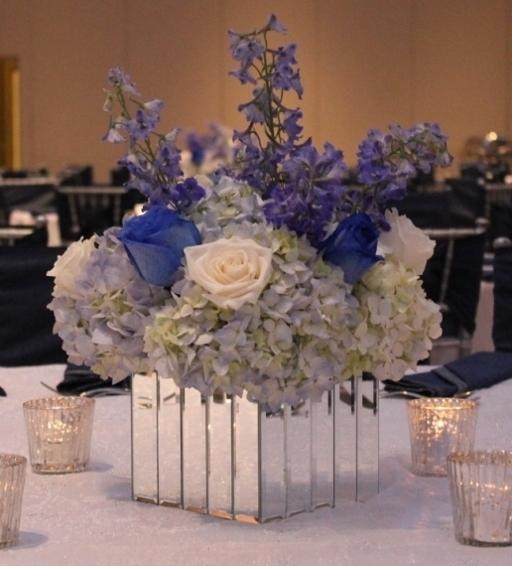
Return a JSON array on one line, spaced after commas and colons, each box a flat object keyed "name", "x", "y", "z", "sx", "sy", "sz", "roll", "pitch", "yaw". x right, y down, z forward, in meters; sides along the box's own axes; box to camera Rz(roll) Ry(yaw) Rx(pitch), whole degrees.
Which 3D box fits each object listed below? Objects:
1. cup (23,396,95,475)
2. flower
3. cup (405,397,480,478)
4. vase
[{"name": "cup", "x": -0.183, "y": 0.139, "z": 0.940, "sx": 0.076, "sy": 0.070, "sz": 0.069, "roll": 0, "pitch": -3, "yaw": -4}, {"name": "flower", "x": 0.000, "y": -0.048, "z": 0.949, "sx": 0.315, "sy": 0.338, "sz": 0.312, "roll": 0, "pitch": 8, "yaw": -1}, {"name": "cup", "x": 0.172, "y": 0.141, "z": 0.949, "sx": 0.076, "sy": 0.071, "sz": 0.069, "roll": 1, "pitch": -3, "yaw": 0}, {"name": "vase", "x": -0.001, "y": 0.132, "z": 0.914, "sx": 0.149, "sy": 0.091, "sz": 0.150, "roll": -2, "pitch": -3, "yaw": 37}]
